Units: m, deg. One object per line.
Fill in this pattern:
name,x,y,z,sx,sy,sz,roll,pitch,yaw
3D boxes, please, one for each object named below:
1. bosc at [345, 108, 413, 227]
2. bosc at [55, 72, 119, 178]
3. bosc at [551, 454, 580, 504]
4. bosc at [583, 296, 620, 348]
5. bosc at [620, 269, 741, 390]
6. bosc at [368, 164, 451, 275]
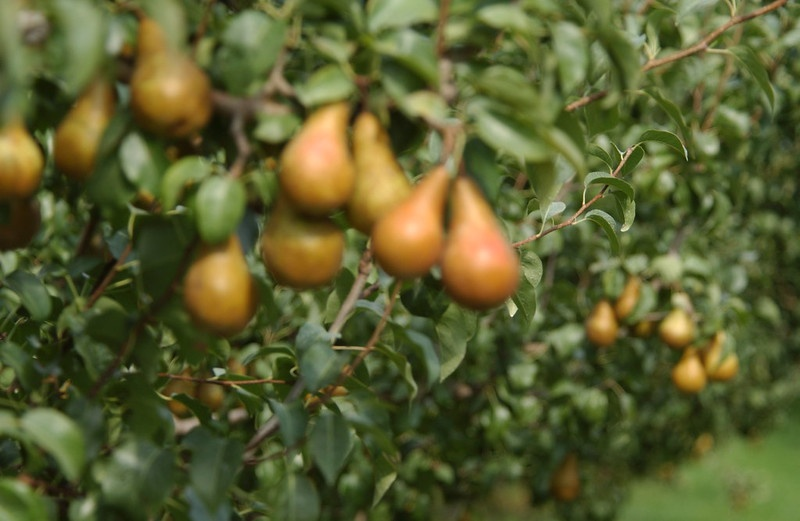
bosc,-0.048,-0.177,1.650,0.098,0.102,0.214,-10,85,-27
bosc,-0.594,-0.251,1.596,0.108,0.168,0.090,0,41,-20
bosc,0.487,0.633,2.504,0.077,0.143,0.056,9,14,-6
bosc,0.573,0.167,2.445,0.107,0.165,0.111,4,13,-2
bosc,0.793,0.218,2.380,0.384,0.215,0.158,39,37,3
bosc,0.039,-0.072,1.560,0.115,0.150,0.159,37,43,22
